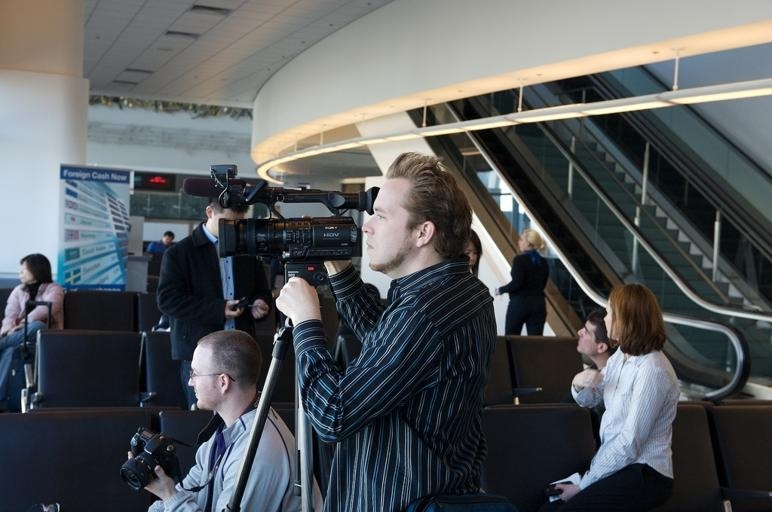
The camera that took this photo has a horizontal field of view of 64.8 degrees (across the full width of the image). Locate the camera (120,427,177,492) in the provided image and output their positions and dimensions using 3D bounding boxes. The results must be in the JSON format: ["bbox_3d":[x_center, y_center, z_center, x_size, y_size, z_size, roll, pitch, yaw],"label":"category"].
[{"bbox_3d":[-0.997,0.841,2.541,0.200,0.125,0.210,16,37,9],"label":"camera"}]

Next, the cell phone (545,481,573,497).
[{"bbox_3d":[0.934,1.284,3.356,0.096,0.023,0.101,-8,25,27],"label":"cell phone"}]
